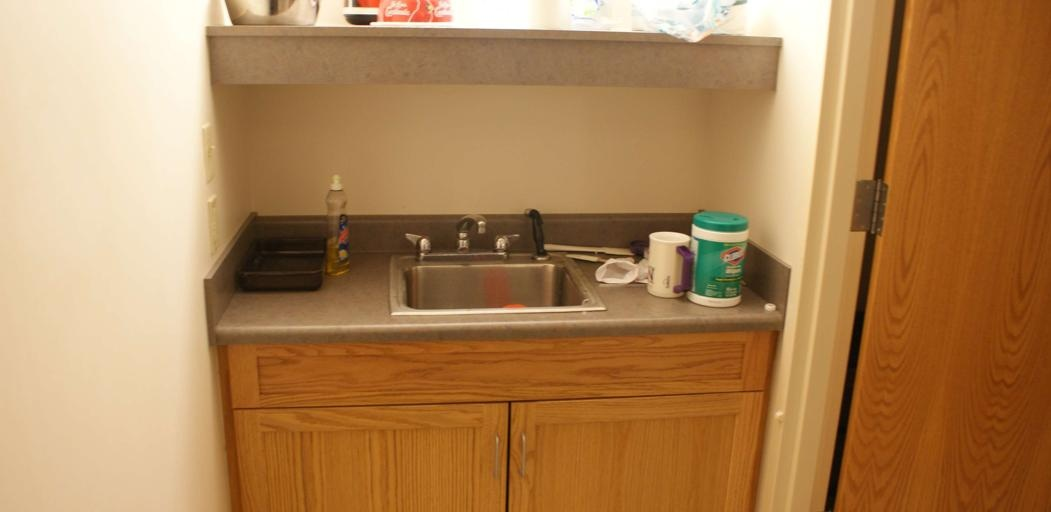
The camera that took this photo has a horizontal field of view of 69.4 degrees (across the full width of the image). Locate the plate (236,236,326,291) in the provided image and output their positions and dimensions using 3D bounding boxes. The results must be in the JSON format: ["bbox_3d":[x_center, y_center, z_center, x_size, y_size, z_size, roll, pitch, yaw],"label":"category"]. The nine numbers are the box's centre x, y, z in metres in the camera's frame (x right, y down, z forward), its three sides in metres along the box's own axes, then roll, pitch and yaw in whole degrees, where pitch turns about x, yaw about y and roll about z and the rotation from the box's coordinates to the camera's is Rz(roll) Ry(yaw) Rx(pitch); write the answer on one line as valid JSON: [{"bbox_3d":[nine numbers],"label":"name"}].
[{"bbox_3d":[-0.963,0.027,3.053,0.332,0.163,0.367,-3,11,-11],"label":"plate"}]

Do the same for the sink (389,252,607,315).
[{"bbox_3d":[-0.143,0.105,3.033,0.743,0.242,0.561,-1,1,-26],"label":"sink"}]

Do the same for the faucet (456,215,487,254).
[{"bbox_3d":[-0.216,-0.092,3.145,0.125,0.162,0.274,-2,12,-3],"label":"faucet"}]

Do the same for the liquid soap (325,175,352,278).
[{"bbox_3d":[-0.760,-0.125,3.064,0.099,0.390,0.135,-5,14,-13],"label":"liquid soap"}]

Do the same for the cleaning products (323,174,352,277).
[{"bbox_3d":[-0.789,-0.127,3.090,0.127,0.418,0.131,8,13,28],"label":"cleaning products"}]
